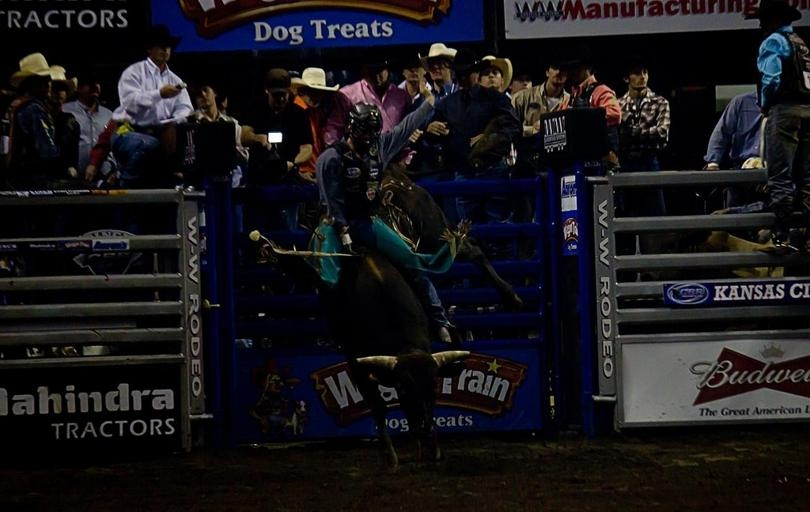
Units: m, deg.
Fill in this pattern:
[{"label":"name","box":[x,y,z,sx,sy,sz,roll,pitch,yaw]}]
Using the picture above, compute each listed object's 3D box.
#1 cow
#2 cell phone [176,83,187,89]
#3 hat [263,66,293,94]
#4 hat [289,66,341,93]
[{"label":"cow","box":[-0.068,0.578,13.901,1.379,1.762,3.354,-32,37,19]},{"label":"cell phone","box":[-2.509,-1.904,14.993,0.082,0.073,0.024,0,52,-4]},{"label":"hat","box":[-1.450,-1.993,15.217,0.237,0.156,0.292,0,43,-12]},{"label":"hat","box":[-1.076,-1.997,15.266,0.369,0.126,0.324,-3,0,36]}]
